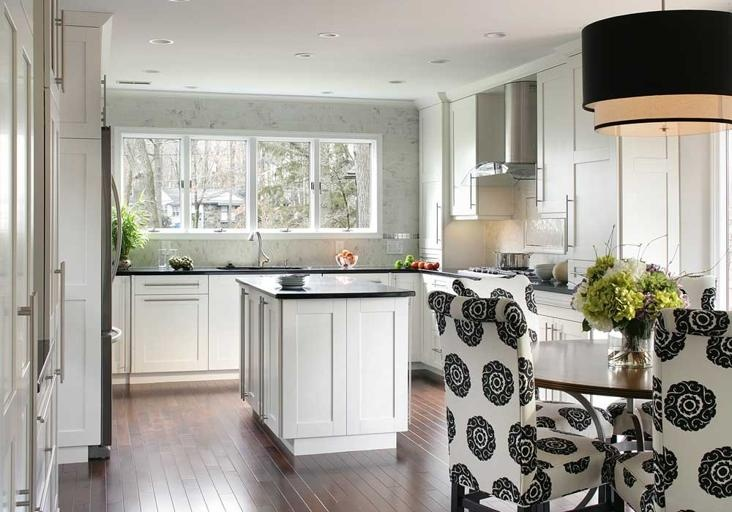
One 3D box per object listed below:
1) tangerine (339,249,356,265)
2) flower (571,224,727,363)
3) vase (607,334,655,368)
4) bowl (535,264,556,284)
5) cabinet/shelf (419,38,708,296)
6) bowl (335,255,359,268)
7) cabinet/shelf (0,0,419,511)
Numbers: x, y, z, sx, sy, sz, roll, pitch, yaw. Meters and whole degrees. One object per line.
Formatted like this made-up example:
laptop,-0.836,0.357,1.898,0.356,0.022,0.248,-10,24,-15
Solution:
tangerine,-0.234,0.022,6.921,0.173,0.131,0.181,1,-7,-6
flower,1.384,0.209,2.757,0.357,0.410,0.392,1,3,-7
vase,1.312,0.457,2.761,0.176,0.182,0.174,0,0,-5
bowl,1.720,0.165,5.282,0.155,0.130,0.169,0,-4,0
cabinet/shelf,1.607,-0.738,4.542,0.812,2.147,2.322,2,-4,-19
bowl,-0.253,0.082,6.931,0.189,0.105,0.192,-1,-4,0
cabinet/shelf,-1.237,-0.036,4.453,3.433,3.340,1.730,1,-3,-27
